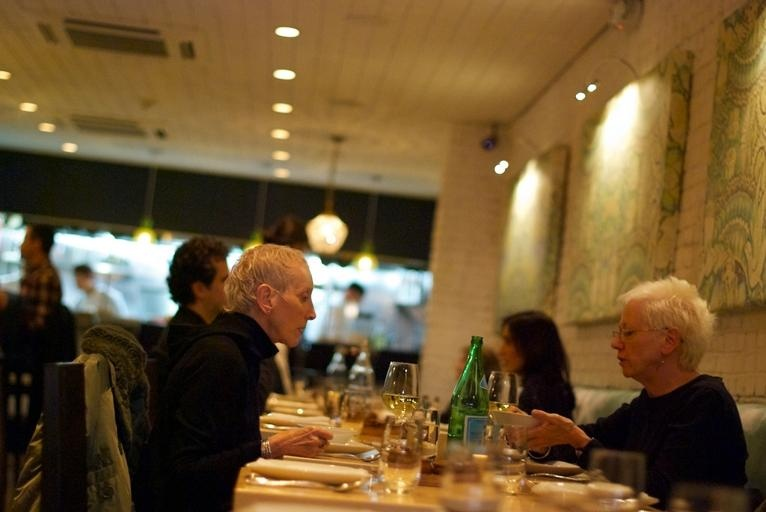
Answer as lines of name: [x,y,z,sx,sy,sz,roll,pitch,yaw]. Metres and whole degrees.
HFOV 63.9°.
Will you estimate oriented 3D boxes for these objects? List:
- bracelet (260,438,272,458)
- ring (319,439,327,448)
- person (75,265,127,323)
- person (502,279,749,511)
bracelet: [-0.362,0.609,1.939,0.038,0.042,0.047,-3,-8,1]
ring: [-0.186,0.593,1.950,0.028,0.028,0.009,7,-5,-18]
person: [-4.287,0.568,9.373,0.739,0.841,0.946,9,-12,-22]
person: [0.856,0.578,2.654,0.854,1.226,0.736,5,-14,6]
